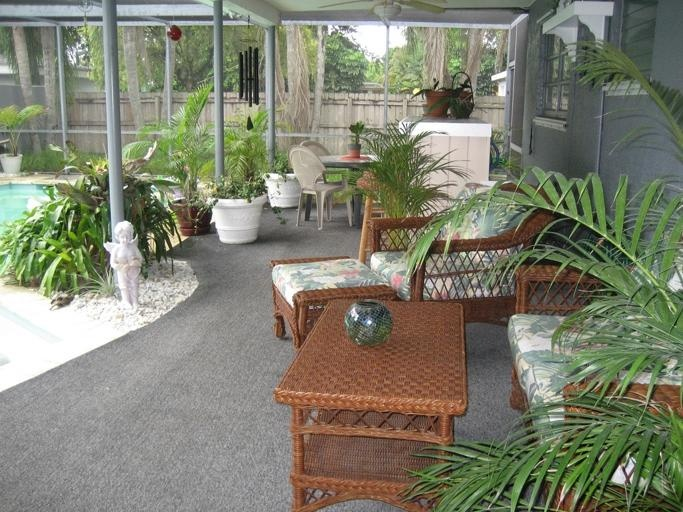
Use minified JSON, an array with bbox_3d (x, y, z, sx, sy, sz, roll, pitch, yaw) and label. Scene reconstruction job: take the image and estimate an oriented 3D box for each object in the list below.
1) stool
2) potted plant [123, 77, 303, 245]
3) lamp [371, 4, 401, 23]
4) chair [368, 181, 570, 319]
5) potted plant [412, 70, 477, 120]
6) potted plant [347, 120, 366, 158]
[{"bbox_3d":[-0.125,0.338,3.320,0.648,0.585,0.798,-4,20,-20],"label":"stool"},{"bbox_3d":[-1.312,-1.097,6.566,2.209,2.047,2.174,-6,14,-30],"label":"potted plant"},{"bbox_3d":[0.490,-2.473,5.029,0.269,0.163,0.308,4,18,23],"label":"lamp"},{"bbox_3d":[0.788,0.011,3.398,1.002,0.791,0.890,-3,19,-8],"label":"chair"},{"bbox_3d":[1.344,-2.027,6.348,0.638,0.579,1.070,0,17,12],"label":"potted plant"},{"bbox_3d":[0.215,-1.548,6.803,0.277,0.482,0.255,-2,7,-36],"label":"potted plant"}]
